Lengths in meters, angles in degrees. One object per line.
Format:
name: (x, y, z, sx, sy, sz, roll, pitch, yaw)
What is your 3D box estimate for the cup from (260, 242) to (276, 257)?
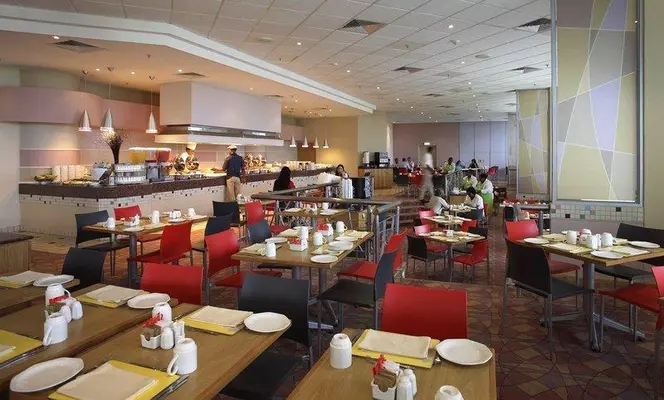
cup: (-0.794, 0.613, 5.353, 0.164, 0.153, 0.162, 1, -3, 0)

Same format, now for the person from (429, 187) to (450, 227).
person: (2.262, 0.124, 8.957, 0.387, 0.712, 0.442, -28, 32, -34)

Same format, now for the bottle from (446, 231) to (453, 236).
bottle: (1.873, 0.529, 6.913, 0.095, 0.062, 0.091, 0, 10, 0)

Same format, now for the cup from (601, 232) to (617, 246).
cup: (3.623, 0.522, 5.699, 0.156, 0.177, 0.210, 0, -4, 2)

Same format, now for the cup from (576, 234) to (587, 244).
cup: (3.276, 0.510, 5.656, 0.118, 0.105, 0.116, 0, 6, 0)

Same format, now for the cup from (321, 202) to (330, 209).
cup: (-0.114, 0.103, 7.410, 0.132, 0.086, 0.093, -2, 8, -7)

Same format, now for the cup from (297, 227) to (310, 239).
cup: (-0.410, 0.448, 5.909, 0.146, 0.164, 0.182, 0, -7, 4)

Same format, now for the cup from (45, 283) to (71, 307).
cup: (-2.622, 0.898, 4.108, 0.190, 0.180, 0.300, -5, 6, -34)

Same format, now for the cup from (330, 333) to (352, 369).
cup: (0.073, 1.278, 3.712, 0.190, 0.276, 0.129, -1, 6, -1)

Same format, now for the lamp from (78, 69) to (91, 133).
lamp: (-5.890, -2.303, 10.200, 0.242, 1.333, 0.929, -4, 6, -29)

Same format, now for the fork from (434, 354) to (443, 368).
fork: (0.904, 1.368, 3.685, 0.097, 0.068, 0.168, -1, 1, 7)

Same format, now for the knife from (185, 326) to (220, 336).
knife: (-1.186, 1.194, 3.957, 0.302, 0.023, 0.038, 6, 47, 9)

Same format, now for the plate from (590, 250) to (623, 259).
plate: (3.355, 0.661, 5.269, 0.287, 0.049, 0.316, -4, 6, -33)

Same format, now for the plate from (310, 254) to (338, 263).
plate: (-0.100, 0.699, 5.138, 0.318, 0.051, 0.234, -1, 5, -1)

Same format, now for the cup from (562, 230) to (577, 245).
cup: (3.195, 0.496, 5.816, 0.185, 0.160, 0.133, -5, 7, -37)

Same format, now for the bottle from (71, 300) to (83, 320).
bottle: (-2.423, 1.031, 4.083, 0.090, 0.178, 0.052, -4, 6, -29)

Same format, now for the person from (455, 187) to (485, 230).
person: (3.049, 0.230, 9.460, 0.600, 0.970, 0.523, -1, 7, -9)
